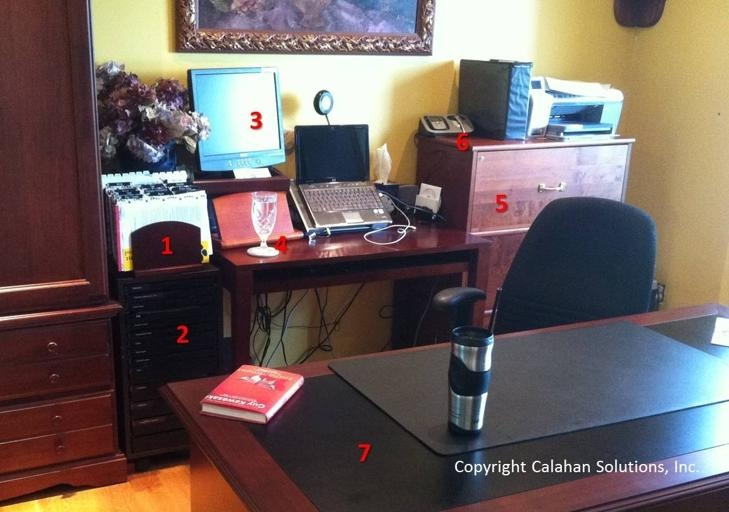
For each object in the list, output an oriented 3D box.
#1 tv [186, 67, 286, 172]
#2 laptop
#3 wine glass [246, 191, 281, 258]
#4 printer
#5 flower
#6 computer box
[{"bbox_3d":[-0.638,-0.658,2.759,0.472,0.475,0.183,-9,12,-32],"label":"tv"},{"bbox_3d":[-0.115,-0.404,2.940,0.541,0.503,0.409,-7,19,-12],"label":"laptop"},{"bbox_3d":[-0.466,-0.161,2.602,0.152,0.257,0.322,-5,19,-8],"label":"wine glass"},{"bbox_3d":[1.172,-0.847,3.307,0.553,0.337,0.400,-5,19,-13],"label":"printer"},{"bbox_3d":[-0.929,-0.585,2.508,0.489,0.455,0.347,3,-21,-28],"label":"flower"},{"bbox_3d":[-0.931,0.447,2.689,0.557,0.810,0.565,-2,11,-14],"label":"computer box"}]
